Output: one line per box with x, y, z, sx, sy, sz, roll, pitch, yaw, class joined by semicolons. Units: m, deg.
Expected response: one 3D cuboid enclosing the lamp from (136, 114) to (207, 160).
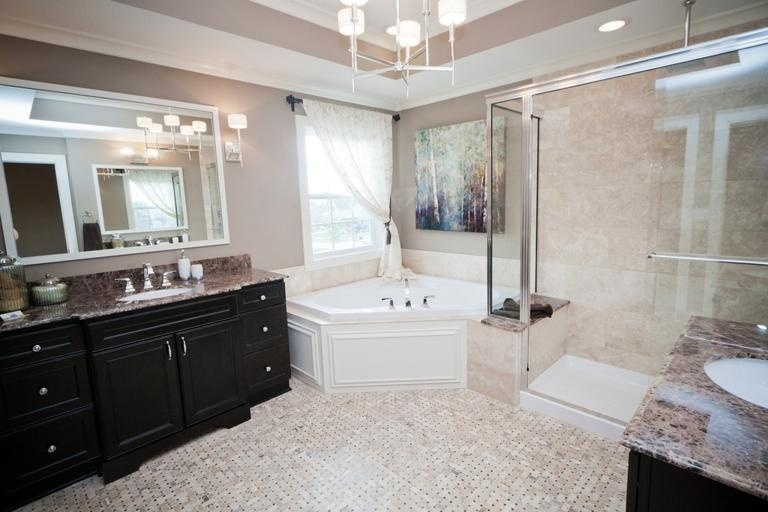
-1.809;-1.026;4.224;0.362;0.241;0.438;18;24;38;lamp

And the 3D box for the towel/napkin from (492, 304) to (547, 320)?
1.222;0.479;4.218;0.215;0.063;0.218;-5;6;-39;towel/napkin

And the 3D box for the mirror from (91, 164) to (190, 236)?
-2.061;-0.469;4.080;0.622;0.511;0.024;-7;14;-37;mirror

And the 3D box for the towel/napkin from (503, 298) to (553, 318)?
1.246;0.458;4.224;0.244;0.071;0.242;-8;11;-39;towel/napkin
